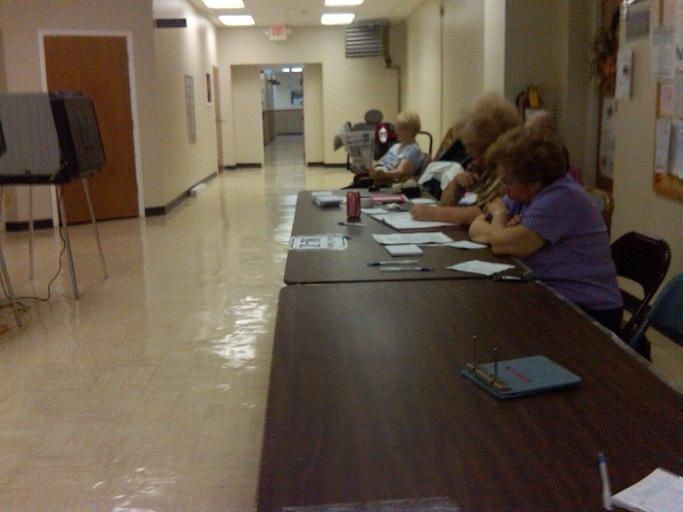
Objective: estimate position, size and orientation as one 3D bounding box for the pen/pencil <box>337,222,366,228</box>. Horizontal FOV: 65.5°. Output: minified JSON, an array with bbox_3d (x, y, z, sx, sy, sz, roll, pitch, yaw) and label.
[{"bbox_3d":[0.056,-0.190,3.244,0.149,0.028,0.021,3,16,12],"label":"pen/pencil"}]

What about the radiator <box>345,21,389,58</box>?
[{"bbox_3d":[0.616,-5.237,12.900,1.093,0.775,0.403,-3,13,0],"label":"radiator"}]

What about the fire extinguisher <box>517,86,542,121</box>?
[{"bbox_3d":[1.926,-1.585,5.405,0.254,0.186,0.424,-5,-22,18],"label":"fire extinguisher"}]

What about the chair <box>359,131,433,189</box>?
[{"bbox_3d":[0.589,-1.211,6.269,0.733,1.024,0.712,3,21,-3],"label":"chair"}]

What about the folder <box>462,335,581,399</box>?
[{"bbox_3d":[0.473,0.317,1.416,0.183,0.085,0.187,-7,14,-15],"label":"folder"}]

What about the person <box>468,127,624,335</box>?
[{"bbox_3d":[0.968,-0.119,2.683,0.653,1.280,0.568,-2,40,19],"label":"person"}]
